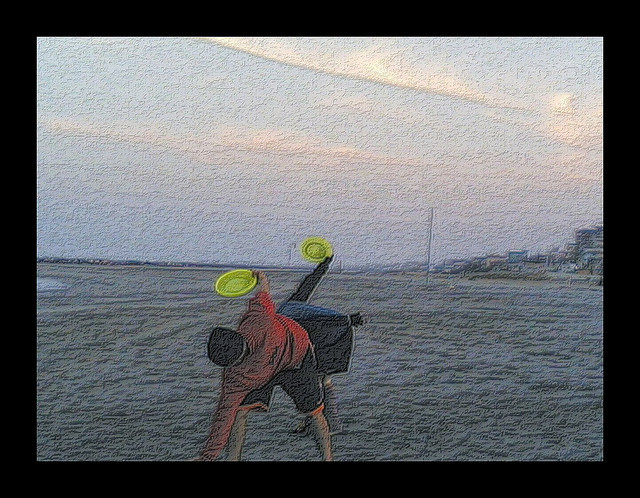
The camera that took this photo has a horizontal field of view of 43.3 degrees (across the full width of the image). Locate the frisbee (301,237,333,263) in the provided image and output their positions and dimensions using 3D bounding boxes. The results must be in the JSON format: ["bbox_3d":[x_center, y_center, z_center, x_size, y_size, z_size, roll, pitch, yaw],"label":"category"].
[{"bbox_3d":[-0.016,0.003,3.877,0.142,0.010,0.124,4,82,0],"label":"frisbee"}]

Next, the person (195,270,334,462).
[{"bbox_3d":[-0.286,0.543,4.055,0.490,0.546,0.936,-12,85,-6],"label":"person"}]

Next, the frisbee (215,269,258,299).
[{"bbox_3d":[-0.404,0.164,3.874,0.193,0.019,0.139,-1,82,-1],"label":"frisbee"}]
